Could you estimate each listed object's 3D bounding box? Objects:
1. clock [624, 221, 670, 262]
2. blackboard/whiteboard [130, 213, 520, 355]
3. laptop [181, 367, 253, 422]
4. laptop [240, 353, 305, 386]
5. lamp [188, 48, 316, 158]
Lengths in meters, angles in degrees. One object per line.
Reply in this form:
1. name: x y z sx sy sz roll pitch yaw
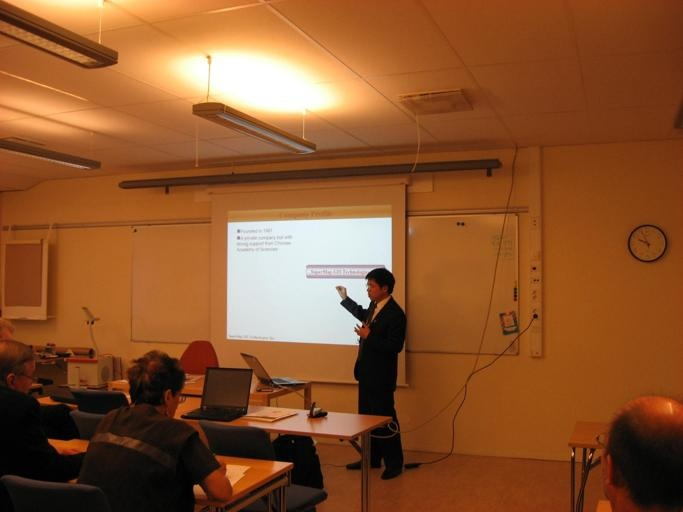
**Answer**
1. clock: 3.153 -0.146 6.070 0.418 0.461 0.069 0 -5 29
2. blackboard/whiteboard: -0.358 0.347 7.198 4.834 1.790 0.367 2 4 17
3. laptop: -1.001 1.087 4.690 0.466 0.337 0.390 -2 -10 20
4. laptop: -0.656 1.083 5.484 0.434 0.275 0.448 0 -5 -20
5. lamp: -0.667 -1.252 5.046 0.305 0.455 1.240 -3 -10 38
